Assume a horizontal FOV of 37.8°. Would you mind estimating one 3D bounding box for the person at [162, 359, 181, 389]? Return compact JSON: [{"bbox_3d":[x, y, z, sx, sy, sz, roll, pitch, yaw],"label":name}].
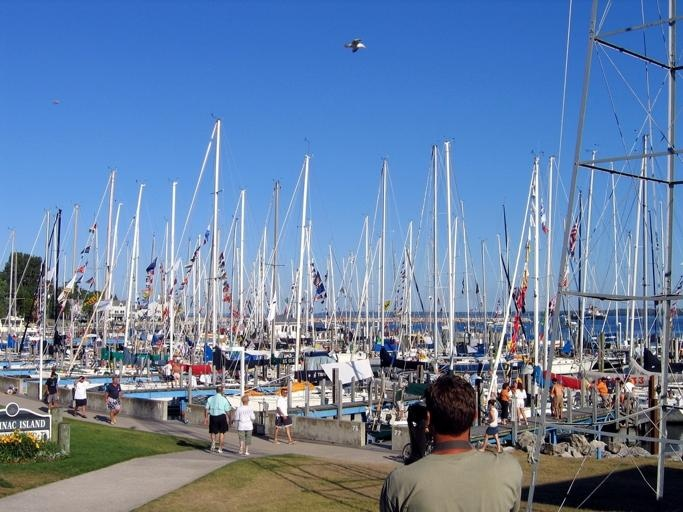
[{"bbox_3d":[-10.453,7.397,61.619,1.083,0.871,2.440,-6,10,-13],"label":"person"}]
